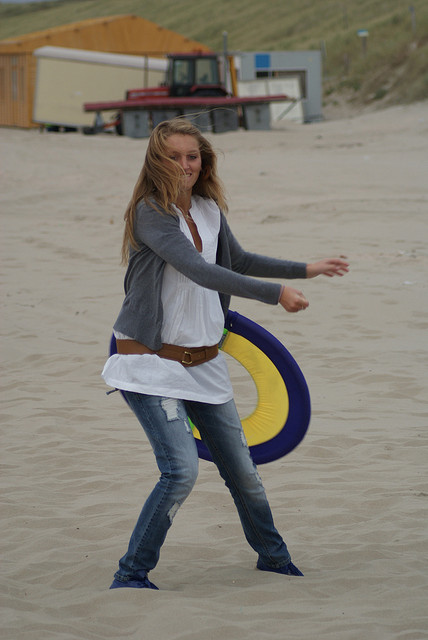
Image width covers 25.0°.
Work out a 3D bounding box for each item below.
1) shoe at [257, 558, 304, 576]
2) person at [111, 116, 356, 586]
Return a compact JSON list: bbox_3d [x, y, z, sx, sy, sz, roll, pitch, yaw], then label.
[{"bbox_3d":[0.302,1.088,4.233,0.207,0.073,0.064,10,34,10],"label":"shoe"},{"bbox_3d":[-0.051,0.138,4.068,0.832,1.953,0.602,-3,6,-1],"label":"person"}]
